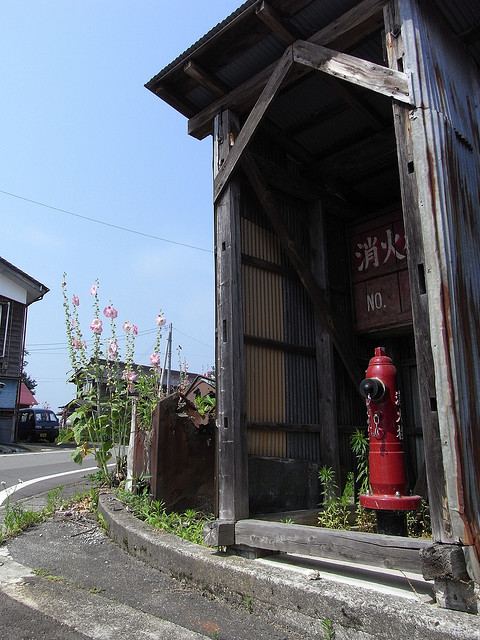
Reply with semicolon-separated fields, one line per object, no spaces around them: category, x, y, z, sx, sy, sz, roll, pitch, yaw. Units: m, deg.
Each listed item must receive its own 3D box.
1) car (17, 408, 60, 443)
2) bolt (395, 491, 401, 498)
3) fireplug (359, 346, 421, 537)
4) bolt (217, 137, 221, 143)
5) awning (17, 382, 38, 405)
car;-10.771;5.525;21.913;2.490;1.805;1.163;-7;-10;14
bolt;1.003;1.094;2.623;0.018;0.045;0.037;1;-7;2
fireplug;0.985;0.831;2.808;0.369;1.237;0.549;-6;-9;24
bolt;-0.207;-1.731;4.007;0.027;0.069;0.030;2;-3;-22
awning;-15.474;5.294;29.886;0.902;1.514;2.502;3;-13;-33
